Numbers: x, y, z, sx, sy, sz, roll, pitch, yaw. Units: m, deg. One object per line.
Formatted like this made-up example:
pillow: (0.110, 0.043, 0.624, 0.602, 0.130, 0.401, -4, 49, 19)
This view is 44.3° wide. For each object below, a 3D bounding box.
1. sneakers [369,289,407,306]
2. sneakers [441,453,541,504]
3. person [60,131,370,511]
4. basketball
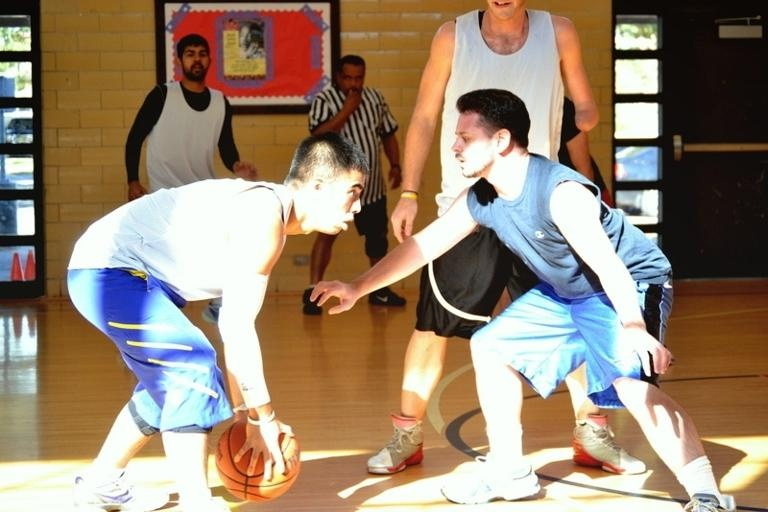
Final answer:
sneakers: (0.028, 0.392, 9.089, 0.399, 0.194, 0.146, 2, 3, 5)
sneakers: (0.555, 1.174, 5.001, 0.503, 0.250, 0.227, -2, -1, -2)
person: (-0.872, 0.313, 4.741, 1.475, 1.774, 0.601, -2, 12, -6)
basketball: (-0.660, 1.046, 4.908, 0.357, 0.383, 0.382, -3, -7, -2)
